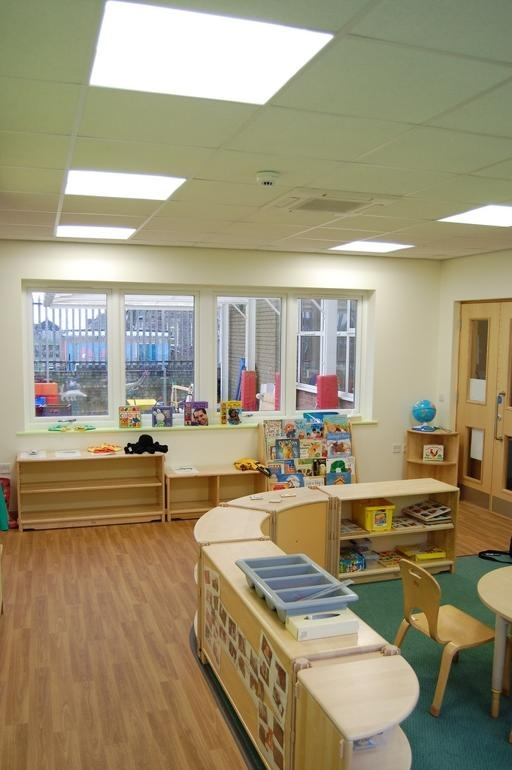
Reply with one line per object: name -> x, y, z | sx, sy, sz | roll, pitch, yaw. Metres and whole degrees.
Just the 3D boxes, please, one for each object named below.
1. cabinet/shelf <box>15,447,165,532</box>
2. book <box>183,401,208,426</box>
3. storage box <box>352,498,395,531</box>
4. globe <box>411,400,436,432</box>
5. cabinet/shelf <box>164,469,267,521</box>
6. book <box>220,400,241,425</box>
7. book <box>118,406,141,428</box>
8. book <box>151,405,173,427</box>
cabinet/shelf -> -1.830, 1.149, 6.082 | 1.501, 0.768, 0.481 | 1, 3, -22
book -> -0.756, 0.391, 6.778 | 0.335, 0.346, 0.259 | 1, -5, -8
storage box -> 1.047, 1.147, 4.832 | 0.256, 0.198, 0.260 | -1, 2, -18
globe -> 2.270, 0.401, 7.307 | 0.378, 0.435, 0.382 | -2, 2, -13
cabinet/shelf -> -0.634, 1.292, 6.535 | 0.954, 0.465, 0.342 | 8, 1, -45
book -> -0.306, 0.354, 6.850 | 0.278, 0.284, 0.194 | 0, 3, -12
book -> -1.487, 0.384, 6.420 | 0.243, 0.264, 0.035 | 0, -6, -20
book -> -1.121, 0.375, 6.537 | 0.241, 0.232, 0.056 | -1, -6, -25
